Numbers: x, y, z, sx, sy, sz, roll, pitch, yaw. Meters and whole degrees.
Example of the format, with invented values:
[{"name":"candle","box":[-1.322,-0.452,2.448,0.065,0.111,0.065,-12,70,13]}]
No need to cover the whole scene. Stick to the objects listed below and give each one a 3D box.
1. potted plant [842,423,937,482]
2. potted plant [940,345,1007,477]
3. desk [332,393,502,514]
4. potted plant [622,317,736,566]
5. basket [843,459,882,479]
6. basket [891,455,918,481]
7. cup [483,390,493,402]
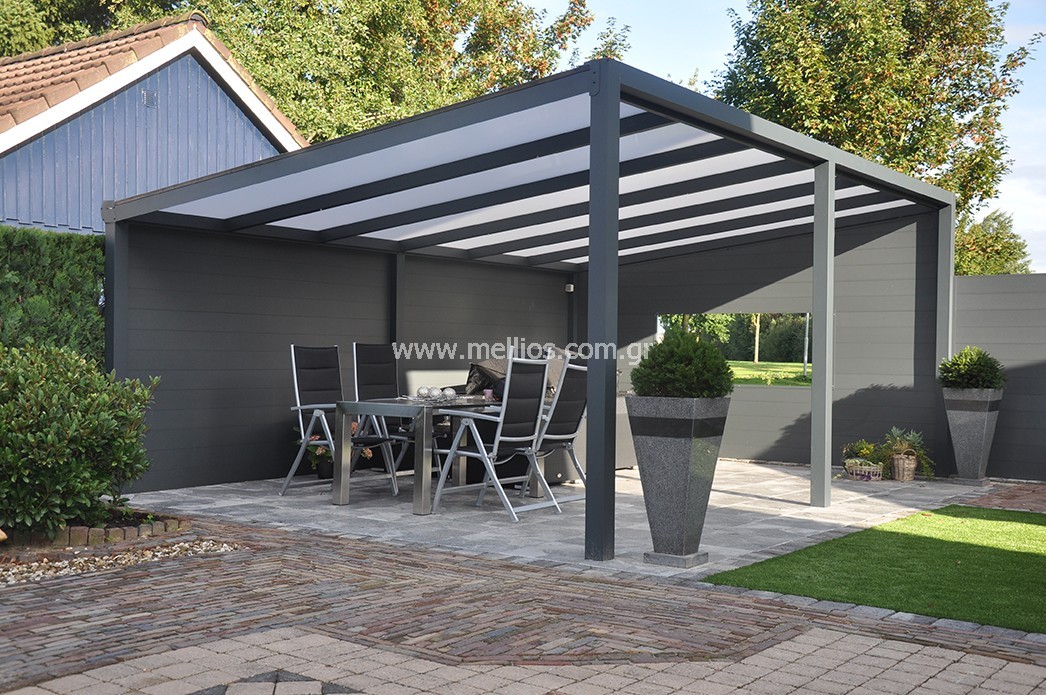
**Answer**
[{"name":"potted plant","box":[4.709,1.352,10.312,0.813,0.414,0.800,-4,-8,32]},{"name":"potted plant","box":[5.452,0.810,9.852,0.681,1.622,0.325,2,-2,20]},{"name":"desk","box":[-1.120,1.047,8.213,1.280,0.870,1.266,-2,-4,36]},{"name":"potted plant","box":[1.109,0.723,5.880,0.742,1.707,0.363,2,-2,6]},{"name":"basket","box":[4.284,1.557,10.222,0.443,0.254,0.350,1,-3,30]},{"name":"basket","box":[4.794,1.521,10.166,0.330,0.327,0.329,-5,-8,35]},{"name":"cup","box":[-0.403,0.533,8.840,0.109,0.157,0.105,-1,-3,0]}]
